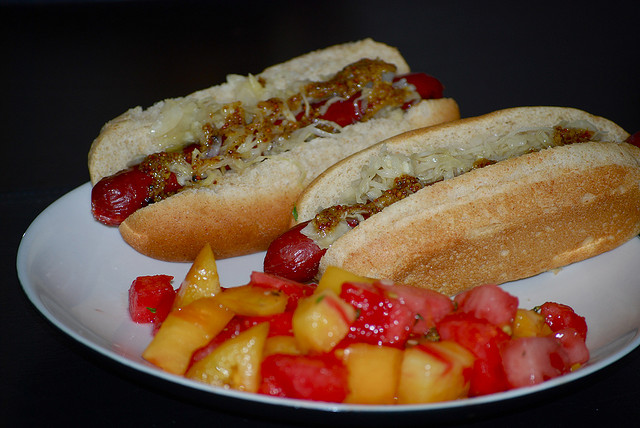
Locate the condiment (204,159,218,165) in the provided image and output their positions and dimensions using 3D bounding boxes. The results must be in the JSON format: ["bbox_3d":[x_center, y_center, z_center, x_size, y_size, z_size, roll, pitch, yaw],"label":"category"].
[{"bbox_3d":[-0.756,-0.361,4.031,0.092,0.025,0.027,-7,36,-8],"label":"condiment"}]

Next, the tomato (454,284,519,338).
[{"bbox_3d":[0.905,0.494,3.072,0.286,0.093,0.281,-30,69,-5],"label":"tomato"}]

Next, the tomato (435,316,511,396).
[{"bbox_3d":[0.799,0.745,3.044,0.415,0.301,0.278,7,37,12],"label":"tomato"}]

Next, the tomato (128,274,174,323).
[{"bbox_3d":[-1.052,0.480,3.551,0.263,0.166,0.260,-6,42,-21],"label":"tomato"}]

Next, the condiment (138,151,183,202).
[{"bbox_3d":[-1.106,-0.286,4.013,0.224,0.264,0.320,19,40,26],"label":"condiment"}]

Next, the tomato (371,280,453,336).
[{"bbox_3d":[0.501,0.472,3.113,0.371,0.108,0.287,17,12,22],"label":"tomato"}]

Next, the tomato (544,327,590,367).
[{"bbox_3d":[1.326,0.763,3.186,0.212,0.084,0.208,-24,79,-42],"label":"tomato"}]

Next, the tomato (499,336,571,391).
[{"bbox_3d":[1.085,0.751,2.966,0.285,0.094,0.318,-10,37,-4],"label":"tomato"}]
